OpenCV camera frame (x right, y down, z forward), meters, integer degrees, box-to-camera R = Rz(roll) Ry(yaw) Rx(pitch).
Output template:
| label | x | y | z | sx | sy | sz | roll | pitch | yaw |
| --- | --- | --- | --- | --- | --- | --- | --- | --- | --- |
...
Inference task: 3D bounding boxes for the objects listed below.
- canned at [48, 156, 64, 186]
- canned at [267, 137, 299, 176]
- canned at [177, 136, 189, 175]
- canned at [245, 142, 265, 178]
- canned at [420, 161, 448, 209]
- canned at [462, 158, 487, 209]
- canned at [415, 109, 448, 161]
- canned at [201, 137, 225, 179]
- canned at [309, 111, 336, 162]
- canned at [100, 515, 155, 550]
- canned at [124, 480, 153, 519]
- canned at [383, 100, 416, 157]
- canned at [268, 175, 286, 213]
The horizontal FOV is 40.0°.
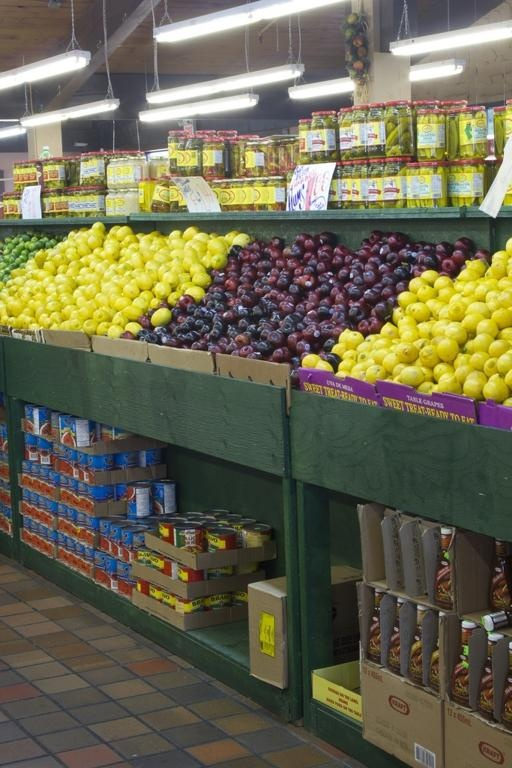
| label | x | y | z | sx | sy | sz | roll | pitch | yaw |
| --- | --- | --- | --- | --- | --- | --- | --- | --- | --- |
| canned | -1.447 | -1.502 | 5.022 | 0.136 | 0.216 | 0.074 | -3 | 1 | 25 |
| canned | 0.134 | -1.027 | 3.146 | 0.115 | 0.177 | 0.213 | -3 | 1 | -19 |
| canned | -0.383 | -1.181 | 3.646 | 0.038 | 0.201 | 0.106 | -3 | 1 | -26 |
| canned | -0.018 | -1.036 | 3.261 | 0.058 | 0.155 | 0.137 | -3 | 1 | -33 |
| canned | 0.576 | -0.632 | 2.257 | 0.082 | 0.129 | 0.150 | -3 | 1 | 17 |
| canned | 0.710 | -0.638 | 2.261 | 0.054 | 0.123 | 0.124 | -2 | 1 | 38 |
| canned | 0.586 | -0.828 | 2.334 | 0.099 | 0.160 | 0.085 | -3 | 1 | 12 |
| canned | -0.214 | -1.135 | 3.555 | 0.119 | 0.201 | 0.078 | -3 | 1 | -3 |
| canned | 0.280 | -0.992 | 2.823 | 0.126 | 0.182 | 0.118 | 7 | 22 | 31 |
| canned | -0.635 | 0.692 | 3.282 | 0.207 | 0.115 | 0.193 | 1 | 3 | -2 |
| canned | -0.565 | 0.576 | 3.510 | 0.173 | 0.165 | 0.162 | 1 | 7 | 5 |
| canned | 0.508 | -0.882 | 2.455 | 0.114 | 0.174 | 0.082 | -3 | 1 | 0 |
| canned | 0.092 | -0.845 | 3.112 | 0.085 | 0.142 | 0.040 | -3 | 1 | 4 |
